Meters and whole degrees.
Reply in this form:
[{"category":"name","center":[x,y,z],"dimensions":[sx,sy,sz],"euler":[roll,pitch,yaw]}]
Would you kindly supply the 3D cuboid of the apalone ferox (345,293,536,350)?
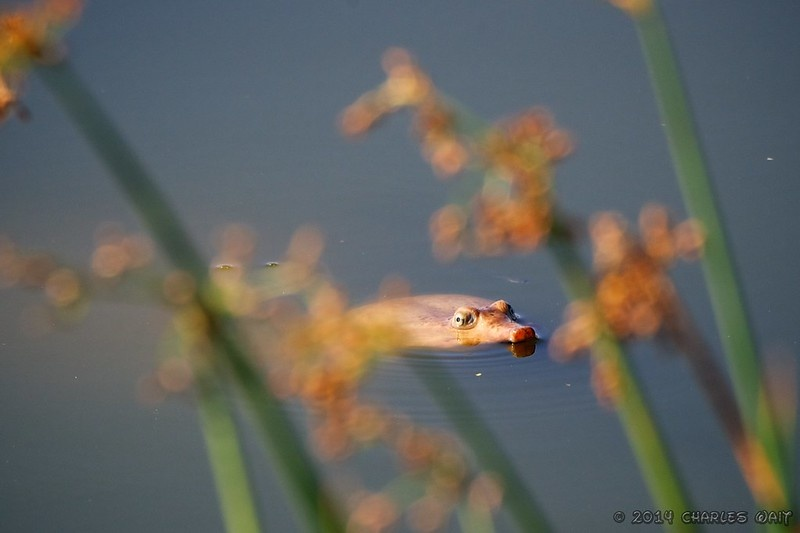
[{"category":"apalone ferox","center":[0.127,0.133,2.593],"dimensions":[0.267,0.057,0.199],"euler":[5,10,23]}]
